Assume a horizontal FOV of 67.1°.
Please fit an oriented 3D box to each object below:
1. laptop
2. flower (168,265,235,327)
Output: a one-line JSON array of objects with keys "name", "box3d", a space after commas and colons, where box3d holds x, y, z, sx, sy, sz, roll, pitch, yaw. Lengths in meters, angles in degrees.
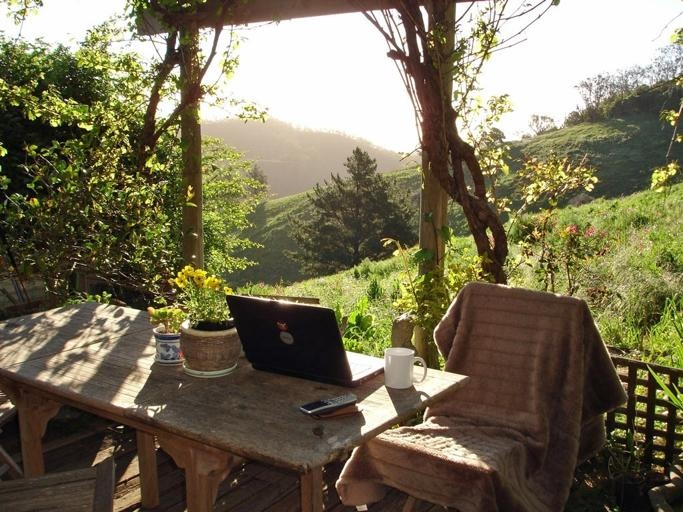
[{"name": "laptop", "box3d": [-0.136, 0.347, 2.661, 0.719, 0.456, 0.582, 10, 8, 35]}, {"name": "flower", "box3d": [-0.725, 0.178, 2.668, 0.244, 0.392, 0.263, 1, 10, -29]}]
